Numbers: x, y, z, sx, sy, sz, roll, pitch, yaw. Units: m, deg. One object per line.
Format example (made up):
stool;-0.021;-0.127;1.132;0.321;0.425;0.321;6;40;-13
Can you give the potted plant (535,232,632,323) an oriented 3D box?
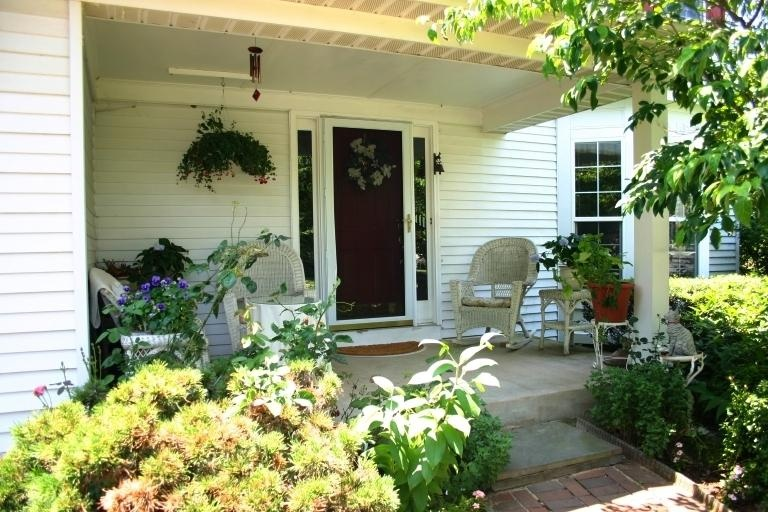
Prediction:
potted plant;2.123;0.208;6.099;0.992;0.882;0.968;6;-9;-33

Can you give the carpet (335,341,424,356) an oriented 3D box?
carpet;-0.044;1.057;6.667;0.995;0.050;0.655;-2;4;-11

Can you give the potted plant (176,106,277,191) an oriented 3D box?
potted plant;-1.673;-1.080;6.185;0.968;0.669;0.954;0;-1;-17

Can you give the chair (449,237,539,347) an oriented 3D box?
chair;1.346;0.424;7.048;1.063;1.311;1.142;-1;0;10

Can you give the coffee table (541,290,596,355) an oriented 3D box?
coffee table;2.165;0.743;6.756;0.609;0.672;0.600;2;-3;-35

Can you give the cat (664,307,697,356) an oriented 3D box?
cat;2.621;0.693;5.139;0.310;0.423;0.252;4;10;14
